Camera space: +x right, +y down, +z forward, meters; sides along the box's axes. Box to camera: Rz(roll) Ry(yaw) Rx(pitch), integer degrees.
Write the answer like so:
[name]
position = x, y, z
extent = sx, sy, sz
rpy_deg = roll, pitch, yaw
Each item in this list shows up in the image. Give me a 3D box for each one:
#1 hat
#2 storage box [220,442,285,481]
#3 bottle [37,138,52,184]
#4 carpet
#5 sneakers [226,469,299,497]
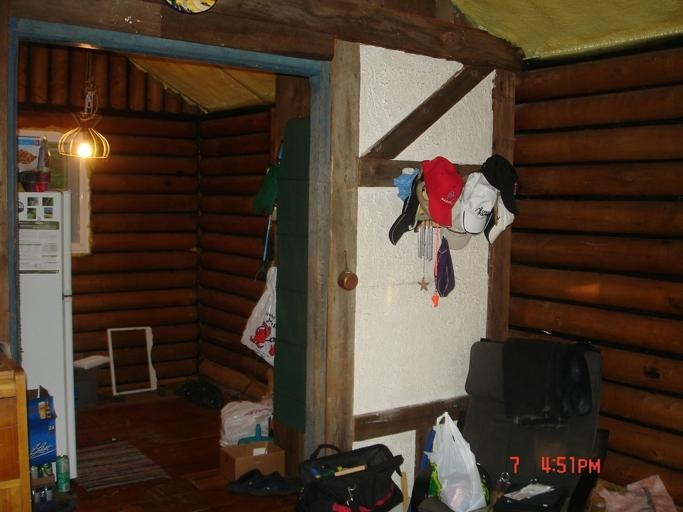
[hat]
position = 0.777, -0.441, 4.330
extent = 0.688, 0.891, 0.401
rpy_deg = 28, -4, -36
[storage box]
position = -0.679, 1.567, 4.547
extent = 0.365, 0.171, 0.363
rpy_deg = 2, -2, -32
[bottle]
position = -2.336, -0.720, 4.511
extent = 0.080, 0.411, 0.250
rpy_deg = -1, 4, -28
[carpet]
position = -1.917, 1.775, 4.893
extent = 0.645, 0.019, 0.978
rpy_deg = -2, 4, -33
[sneakers]
position = -0.577, 1.714, 4.342
extent = 0.401, 0.127, 0.215
rpy_deg = -1, -4, 4
